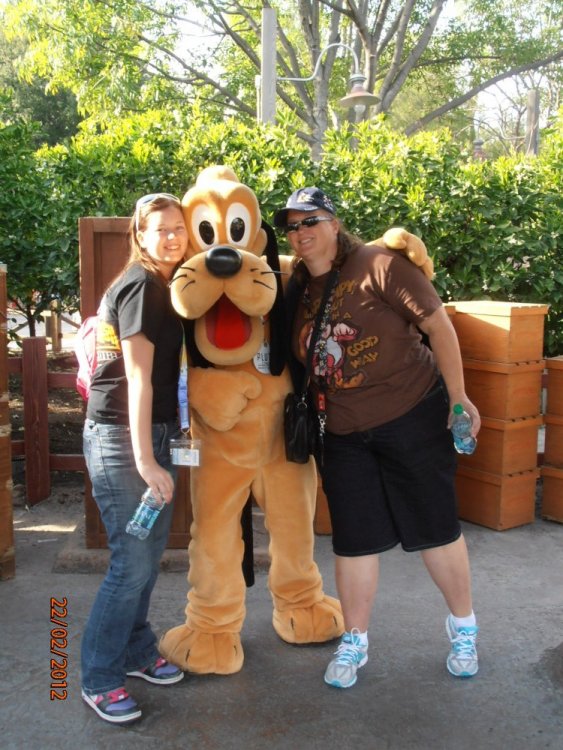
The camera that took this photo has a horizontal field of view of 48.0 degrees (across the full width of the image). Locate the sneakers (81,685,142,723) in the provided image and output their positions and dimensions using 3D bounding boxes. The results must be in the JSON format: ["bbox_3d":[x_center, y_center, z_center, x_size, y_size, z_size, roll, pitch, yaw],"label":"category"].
[{"bbox_3d":[-0.571,1.052,2.069,0.221,0.089,0.084,0,-10,36],"label":"sneakers"}]

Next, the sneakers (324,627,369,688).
[{"bbox_3d":[0.244,1.039,2.295,0.094,0.112,0.257,5,-7,19],"label":"sneakers"}]

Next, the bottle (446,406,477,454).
[{"bbox_3d":[0.650,0.199,2.279,0.111,0.186,0.107,-12,22,5],"label":"bottle"}]

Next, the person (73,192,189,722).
[{"bbox_3d":[-0.480,0.267,2.033,0.361,1.746,0.444,-1,6,-8],"label":"person"}]

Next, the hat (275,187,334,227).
[{"bbox_3d":[0.087,-0.652,2.337,0.140,0.098,0.203,-13,-12,37],"label":"hat"}]

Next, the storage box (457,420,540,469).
[{"bbox_3d":[1.319,0.430,4.087,0.319,0.381,0.552,-3,4,-30],"label":"storage box"}]

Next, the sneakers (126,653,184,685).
[{"bbox_3d":[-0.456,1.066,2.299,0.198,0.077,0.088,-2,-6,10],"label":"sneakers"}]

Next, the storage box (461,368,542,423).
[{"bbox_3d":[1.379,0.072,4.032,0.336,0.375,0.567,-8,8,-24],"label":"storage box"}]

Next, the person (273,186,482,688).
[{"bbox_3d":[0.355,0.211,2.331,0.767,1.806,0.365,0,6,0],"label":"person"}]

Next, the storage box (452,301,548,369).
[{"bbox_3d":[1.322,-0.287,3.904,0.398,0.399,0.680,-8,13,-19],"label":"storage box"}]

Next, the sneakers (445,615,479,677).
[{"bbox_3d":[0.656,1.015,2.358,0.094,0.108,0.238,0,49,6],"label":"sneakers"}]

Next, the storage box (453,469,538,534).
[{"bbox_3d":[1.370,0.776,4.099,0.306,0.321,0.510,-1,1,-16],"label":"storage box"}]

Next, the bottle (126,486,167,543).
[{"bbox_3d":[-0.403,0.410,1.920,0.072,0.190,0.076,18,-15,5],"label":"bottle"}]
